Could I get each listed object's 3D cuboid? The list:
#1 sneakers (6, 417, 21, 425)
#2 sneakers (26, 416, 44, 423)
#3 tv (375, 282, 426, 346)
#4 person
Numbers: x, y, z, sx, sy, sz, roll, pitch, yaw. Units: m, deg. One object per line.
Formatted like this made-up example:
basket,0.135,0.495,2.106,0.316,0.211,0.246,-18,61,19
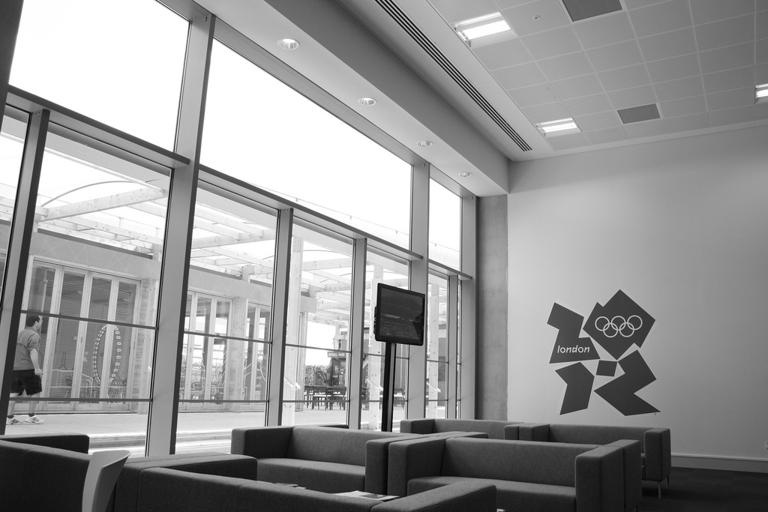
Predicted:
sneakers,-3.847,1.696,5.571,0.123,0.047,0.047,1,-6,-6
sneakers,-3.709,1.724,5.692,0.142,0.060,0.048,6,-6,-26
tv,0.272,0.872,7.847,0.106,0.815,1.228,3,-1,-34
person,-3.787,1.181,5.705,0.235,1.128,0.400,0,-19,-3
